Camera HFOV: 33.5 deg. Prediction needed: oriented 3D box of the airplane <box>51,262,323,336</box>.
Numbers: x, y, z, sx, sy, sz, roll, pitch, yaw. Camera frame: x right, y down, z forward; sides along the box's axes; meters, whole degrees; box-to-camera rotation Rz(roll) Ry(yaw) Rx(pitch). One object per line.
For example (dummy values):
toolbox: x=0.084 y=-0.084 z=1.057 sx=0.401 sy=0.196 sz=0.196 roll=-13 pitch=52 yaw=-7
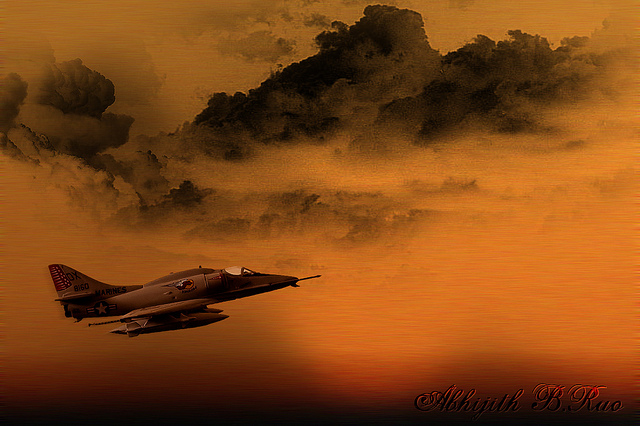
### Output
airplane: x=-4.997 y=2.666 z=34.675 sx=8.866 sy=1.536 sz=5.437 roll=-4 pitch=2 yaw=-4
